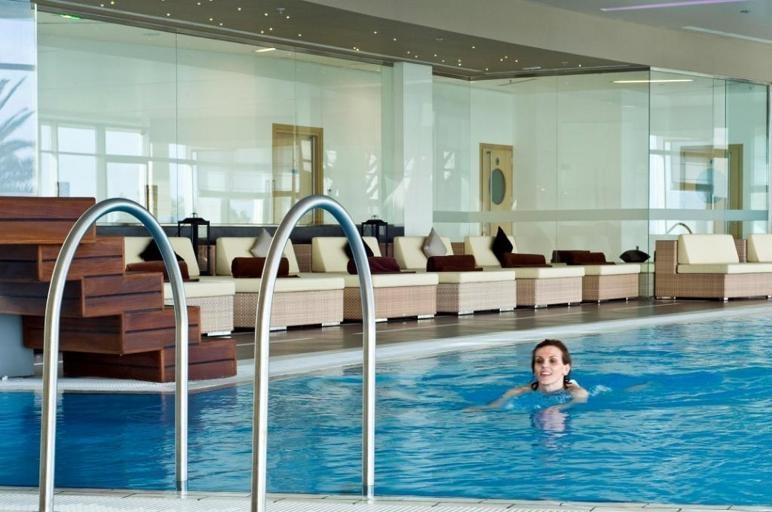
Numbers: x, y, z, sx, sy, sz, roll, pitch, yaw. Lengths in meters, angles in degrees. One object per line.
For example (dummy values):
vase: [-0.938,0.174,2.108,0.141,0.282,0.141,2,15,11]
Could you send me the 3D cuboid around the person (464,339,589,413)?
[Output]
person: [1.238,0.962,5.398,1.293,0.485,0.383,-3,-23,16]
